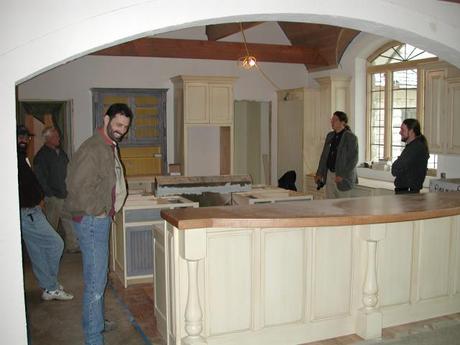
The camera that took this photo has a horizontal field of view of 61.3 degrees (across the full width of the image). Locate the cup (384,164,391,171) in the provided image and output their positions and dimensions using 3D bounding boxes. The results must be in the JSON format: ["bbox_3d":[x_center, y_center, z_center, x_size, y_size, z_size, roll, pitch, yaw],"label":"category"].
[{"bbox_3d":[3.054,-0.109,7.564,0.137,0.143,0.104,-2,3,-5],"label":"cup"}]

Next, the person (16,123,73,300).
[{"bbox_3d":[-2.012,0.467,4.245,0.483,1.970,0.751,-3,5,-28],"label":"person"}]

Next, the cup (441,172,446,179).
[{"bbox_3d":[3.517,0.038,6.429,0.078,0.092,0.094,-4,6,-41],"label":"cup"}]

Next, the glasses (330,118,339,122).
[{"bbox_3d":[1.605,-0.816,5.940,0.084,0.045,0.083,1,6,-8],"label":"glasses"}]

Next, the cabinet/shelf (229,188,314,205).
[{"bbox_3d":[0.574,0.367,5.603,0.930,0.202,0.784,-2,5,-25],"label":"cabinet/shelf"}]

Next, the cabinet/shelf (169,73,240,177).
[{"bbox_3d":[-0.584,-0.943,8.319,1.323,2.095,1.665,-1,5,-5],"label":"cabinet/shelf"}]

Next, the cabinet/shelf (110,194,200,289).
[{"bbox_3d":[-0.932,0.691,5.197,1.249,1.305,0.954,-2,6,-16],"label":"cabinet/shelf"}]

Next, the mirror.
[{"bbox_3d":[0.533,-0.737,9.363,0.991,2.021,0.195,-2,5,-18],"label":"mirror"}]

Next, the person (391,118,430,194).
[{"bbox_3d":[2.312,-0.206,5.007,0.432,0.976,0.314,2,5,25],"label":"person"}]

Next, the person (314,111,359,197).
[{"bbox_3d":[1.665,-0.262,6.014,0.412,1.370,0.719,-3,5,-26],"label":"person"}]
